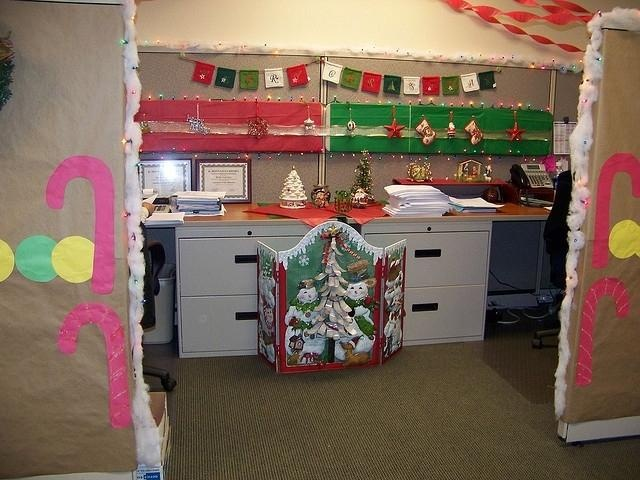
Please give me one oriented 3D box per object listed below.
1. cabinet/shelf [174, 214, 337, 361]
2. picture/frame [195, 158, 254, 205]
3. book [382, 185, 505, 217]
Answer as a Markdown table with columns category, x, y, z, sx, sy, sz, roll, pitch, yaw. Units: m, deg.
| category | x | y | z | sx | sy | sz | roll | pitch | yaw |
| --- | --- | --- | --- | --- | --- | --- | --- | --- | --- |
| cabinet/shelf | -0.363 | 0.330 | 3.593 | 1.289 | 1.260 | 0.760 | -1 | 5 | -9 |
| picture/frame | -0.691 | -0.416 | 3.607 | 0.387 | 0.345 | 0.027 | -1 | -16 | -8 |
| book | 0.761 | -0.249 | 3.381 | 0.458 | 0.119 | 0.364 | -1 | 11 | -10 |
